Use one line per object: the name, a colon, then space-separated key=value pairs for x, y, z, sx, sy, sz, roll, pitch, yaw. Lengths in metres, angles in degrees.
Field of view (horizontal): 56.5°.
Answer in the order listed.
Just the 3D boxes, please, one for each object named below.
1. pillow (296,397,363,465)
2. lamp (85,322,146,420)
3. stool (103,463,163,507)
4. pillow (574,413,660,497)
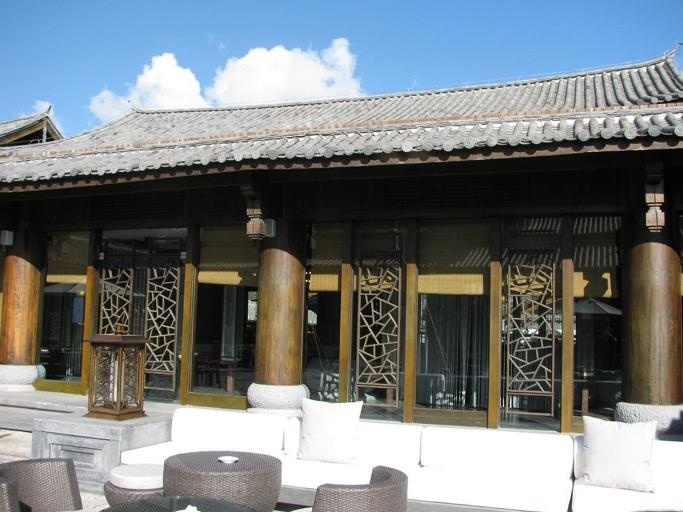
pillow: x=-0.124 y=1.741 z=6.242 sx=0.479 sy=0.514 sz=0.190 roll=2 pitch=-27 yaw=17
lamp: x=-2.509 y=1.303 z=7.111 sx=0.640 sy=1.006 sz=0.684 roll=5 pitch=-10 yaw=-26
stool: x=-1.791 y=1.986 z=5.460 sx=0.469 sy=0.271 sz=0.345 roll=5 pitch=-9 yaw=-21
pillow: x=2.438 y=1.738 z=5.591 sx=0.584 sy=0.640 sz=0.222 roll=-1 pitch=3 yaw=17
